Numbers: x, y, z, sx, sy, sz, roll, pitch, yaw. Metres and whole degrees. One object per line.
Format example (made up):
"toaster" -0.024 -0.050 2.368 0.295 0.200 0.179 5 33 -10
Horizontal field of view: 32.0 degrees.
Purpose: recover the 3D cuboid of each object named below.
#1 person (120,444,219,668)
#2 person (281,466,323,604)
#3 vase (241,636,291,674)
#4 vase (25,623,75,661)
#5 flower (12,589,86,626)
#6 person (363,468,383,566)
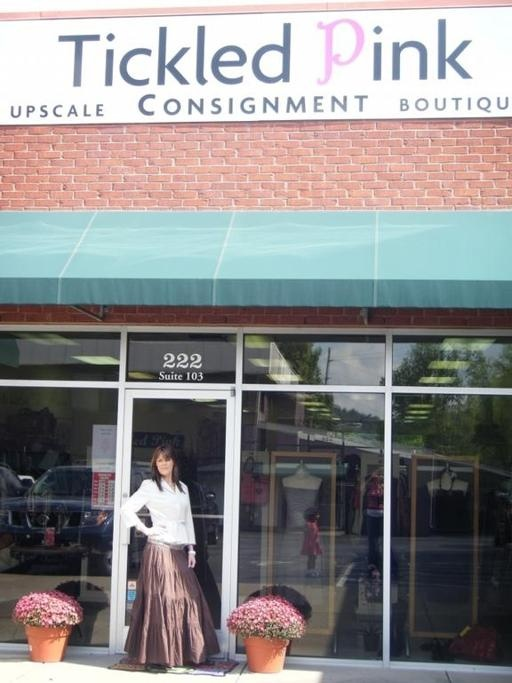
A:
"person" -0.763 1.893 7.880 0.659 1.886 0.651 -2 -5 42
"person" 0.447 1.674 8.422 0.365 0.928 0.281 -2 2 -1
"vase" 0.090 2.718 7.724 0.364 0.244 0.335 2 -25 -1
"vase" -1.865 2.696 7.954 0.368 0.250 0.352 3 -12 -12
"flower" -1.846 2.414 7.991 0.395 0.184 0.419 8 -1 38
"person" 1.082 1.652 8.276 0.161 0.931 0.083 1 -4 0
